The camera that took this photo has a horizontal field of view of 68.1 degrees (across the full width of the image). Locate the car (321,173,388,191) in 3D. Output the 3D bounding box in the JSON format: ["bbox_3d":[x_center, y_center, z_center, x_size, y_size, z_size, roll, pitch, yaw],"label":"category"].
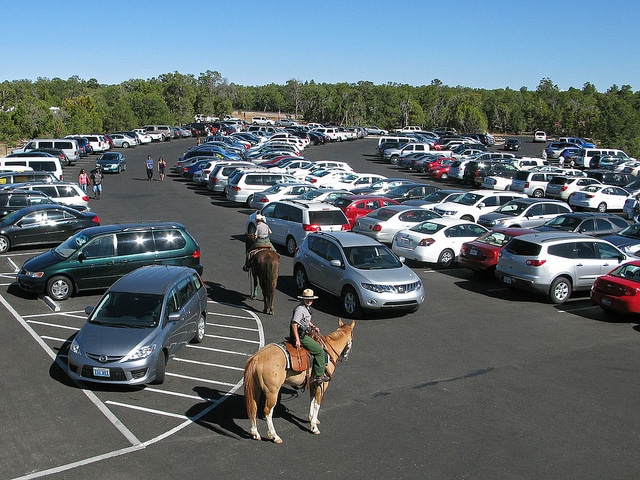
[{"bbox_3d":[2.810,-4.504,36.242,4.621,1.567,2.009,0,7,-11],"label":"car"}]

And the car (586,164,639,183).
[{"bbox_3d":[23.733,-5.255,38.192,3.599,1.232,1.585,-1,10,-8],"label":"car"}]

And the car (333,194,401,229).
[{"bbox_3d":[2.690,-1.609,25.946,3.775,1.300,1.645,-6,10,-23],"label":"car"}]

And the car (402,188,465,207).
[{"bbox_3d":[6.710,-2.468,27.597,4.015,1.269,1.623,-1,6,-23],"label":"car"}]

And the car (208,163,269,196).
[{"bbox_3d":[-6.072,-4.917,37.471,5.762,2.283,2.438,-7,21,-32],"label":"car"}]

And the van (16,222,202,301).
[{"bbox_3d":[-7.177,0.661,16.415,6.408,2.142,2.740,0,4,-22],"label":"van"}]

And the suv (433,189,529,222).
[{"bbox_3d":[9.726,-1.799,27.072,5.224,1.891,2.123,-4,11,-6],"label":"suv"}]

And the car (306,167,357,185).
[{"bbox_3d":[0.754,-4.960,37.189,3.609,1.133,1.574,-3,11,-22],"label":"car"}]

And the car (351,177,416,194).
[{"bbox_3d":[4.577,-3.756,33.127,4.276,1.340,1.834,-2,6,-25],"label":"car"}]

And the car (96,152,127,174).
[{"bbox_3d":[-19.683,-7.140,44.290,2.308,1.752,2.283,-6,16,-23],"label":"car"}]

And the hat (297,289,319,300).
[{"bbox_3d":[-0.220,1.074,9.318,0.381,0.129,0.397,1,-4,2],"label":"hat"}]

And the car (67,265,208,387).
[{"bbox_3d":[-4.375,1.867,11.802,2.329,1.660,4.213,5,13,1],"label":"car"}]

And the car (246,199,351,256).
[{"bbox_3d":[-1.224,-0.706,22.553,2.467,1.725,4.519,-4,11,-32],"label":"car"}]

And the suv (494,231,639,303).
[{"bbox_3d":[9.221,0.743,17.475,4.781,1.692,2.314,-6,10,-20],"label":"suv"}]

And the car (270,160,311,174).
[{"bbox_3d":[-2.470,-6.692,41.023,3.916,1.291,1.754,0,6,-11],"label":"car"}]

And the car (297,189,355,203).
[{"bbox_3d":[0.270,-2.575,27.421,2.994,1.013,1.287,3,4,-8],"label":"car"}]

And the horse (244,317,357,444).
[{"bbox_3d":[-0.305,2.683,8.972,2.549,1.885,0.759,4,-8,-37],"label":"horse"}]

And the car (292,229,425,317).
[{"bbox_3d":[1.282,1.028,16.578,2.696,2.236,5.386,-3,11,-30],"label":"car"}]

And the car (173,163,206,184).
[{"bbox_3d":[-11.410,-6.153,41.719,2.792,0.864,1.224,-14,17,-39],"label":"car"}]

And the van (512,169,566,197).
[{"bbox_3d":[16.330,-4.342,36.247,3.956,1.432,1.809,-6,12,-15],"label":"van"}]

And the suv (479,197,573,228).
[{"bbox_3d":[11.381,-1.196,25.669,5.317,1.959,2.223,-4,12,-18],"label":"suv"}]

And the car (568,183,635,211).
[{"bbox_3d":[19.669,-2.839,32.931,3.869,1.858,1.262,-3,16,-15],"label":"car"}]

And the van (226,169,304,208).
[{"bbox_3d":[-3.439,-3.881,33.733,6.652,2.159,2.885,-7,22,-34],"label":"van"}]

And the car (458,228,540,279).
[{"bbox_3d":[8.437,0.355,20.017,5.187,1.629,2.114,-8,18,-29],"label":"car"}]
